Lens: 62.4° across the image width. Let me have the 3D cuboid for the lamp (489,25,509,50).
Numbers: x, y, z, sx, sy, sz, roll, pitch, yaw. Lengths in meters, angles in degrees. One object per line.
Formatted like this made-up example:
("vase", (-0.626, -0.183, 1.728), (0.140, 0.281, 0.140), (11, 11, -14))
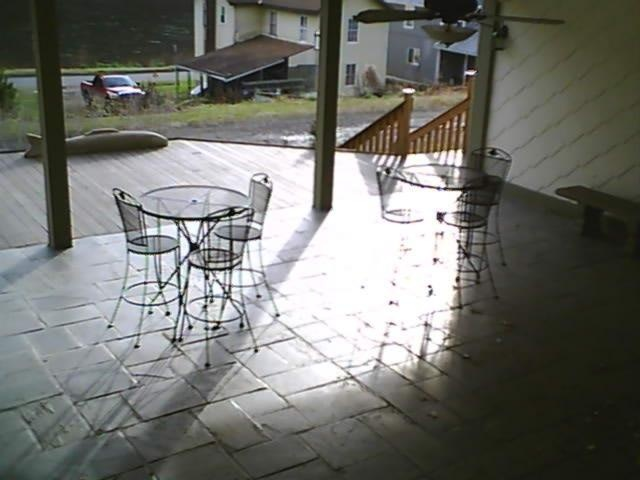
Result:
("lamp", (2.857, -3.258, 8.373), (0.267, 0.449, 0.821), (9, 22, 19))
